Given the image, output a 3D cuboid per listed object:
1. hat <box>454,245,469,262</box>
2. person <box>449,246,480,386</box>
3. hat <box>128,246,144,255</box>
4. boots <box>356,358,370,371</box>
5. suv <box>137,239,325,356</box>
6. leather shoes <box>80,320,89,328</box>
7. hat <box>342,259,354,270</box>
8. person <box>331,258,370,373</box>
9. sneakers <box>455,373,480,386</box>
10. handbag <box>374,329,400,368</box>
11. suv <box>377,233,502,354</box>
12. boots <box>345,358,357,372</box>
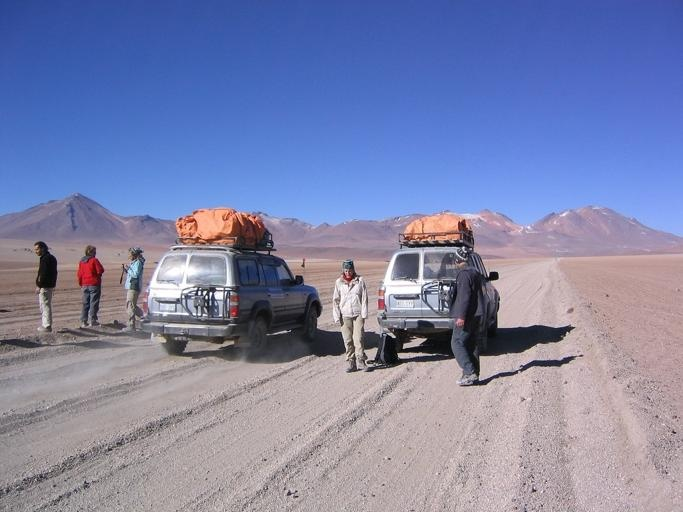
[{"bbox_3d":[2.248,-0.032,8.264,0.256,0.243,0.209,-19,44,-38],"label":"hat"},{"bbox_3d":[2.141,1.062,7.518,0.504,2.205,0.865,1,4,14],"label":"person"},{"bbox_3d":[-5.333,-0.114,11.378,0.446,0.208,0.631,2,4,-5],"label":"hat"},{"bbox_3d":[0.399,2.072,8.375,0.267,0.217,0.306,0,3,6],"label":"boots"},{"bbox_3d":[-2.293,0.773,10.102,2.028,1.891,3.700,1,5,24],"label":"suv"},{"bbox_3d":[-6.718,1.794,11.438,0.223,0.214,0.227,-2,1,14],"label":"leather shoes"},{"bbox_3d":[0.110,0.172,8.467,0.176,0.174,0.227,3,9,24],"label":"hat"},{"bbox_3d":[0.183,1.141,8.721,0.692,2.110,1.215,0,4,0],"label":"person"},{"bbox_3d":[2.069,2.073,7.303,0.455,0.226,0.165,-5,7,-6],"label":"sneakers"},{"bbox_3d":[0.974,1.872,8.888,0.549,0.762,0.586,2,0,26],"label":"handbag"},{"bbox_3d":[2.164,0.805,9.976,1.862,1.678,3.204,-1,4,22],"label":"suv"},{"bbox_3d":[0.192,2.059,8.288,0.246,0.254,0.199,-1,4,-16],"label":"boots"}]
